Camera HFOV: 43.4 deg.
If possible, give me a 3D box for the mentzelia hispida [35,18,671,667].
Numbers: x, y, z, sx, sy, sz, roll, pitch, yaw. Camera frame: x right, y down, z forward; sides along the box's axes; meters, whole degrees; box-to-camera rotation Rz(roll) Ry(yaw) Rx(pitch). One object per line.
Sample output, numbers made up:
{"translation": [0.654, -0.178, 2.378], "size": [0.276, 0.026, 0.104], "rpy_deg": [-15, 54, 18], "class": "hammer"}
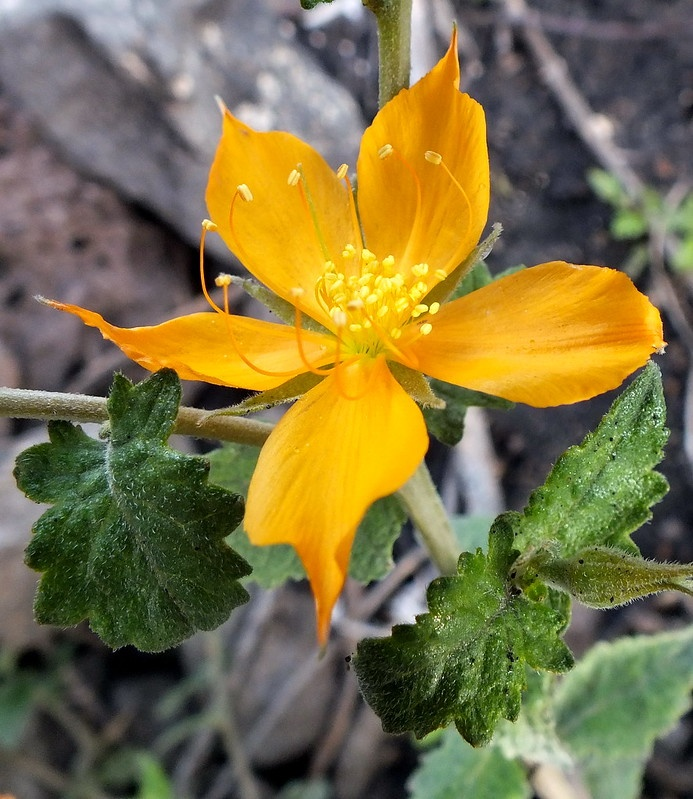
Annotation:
{"translation": [0.004, -0.177, 1.338], "size": [0.777, 0.422, 0.764], "rpy_deg": [-41, 83, -5], "class": "mentzelia hispida"}
